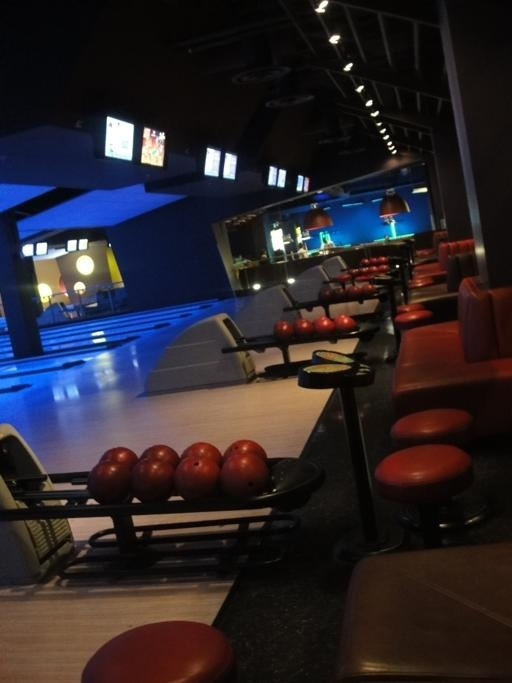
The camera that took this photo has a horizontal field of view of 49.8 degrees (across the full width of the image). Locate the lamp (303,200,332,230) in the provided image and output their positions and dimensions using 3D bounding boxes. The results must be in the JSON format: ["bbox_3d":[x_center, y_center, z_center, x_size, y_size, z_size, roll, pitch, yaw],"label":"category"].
[{"bbox_3d":[1.767,-3.668,16.354,0.737,0.498,0.718,-16,6,-23],"label":"lamp"}]
